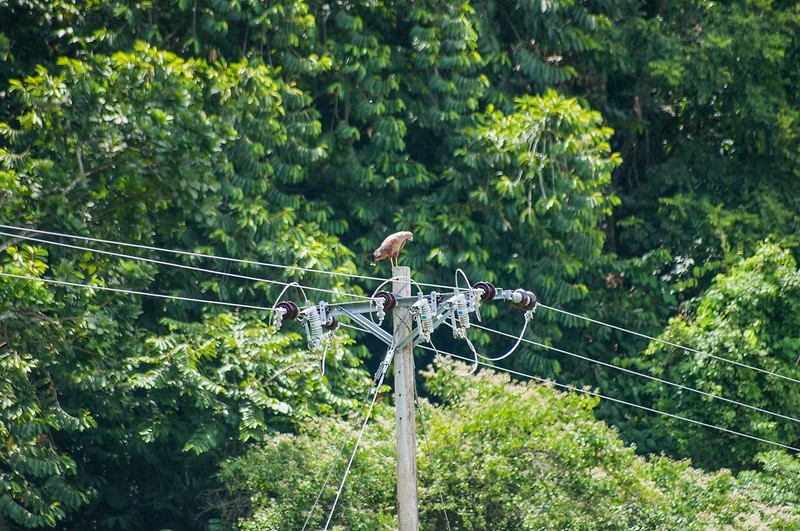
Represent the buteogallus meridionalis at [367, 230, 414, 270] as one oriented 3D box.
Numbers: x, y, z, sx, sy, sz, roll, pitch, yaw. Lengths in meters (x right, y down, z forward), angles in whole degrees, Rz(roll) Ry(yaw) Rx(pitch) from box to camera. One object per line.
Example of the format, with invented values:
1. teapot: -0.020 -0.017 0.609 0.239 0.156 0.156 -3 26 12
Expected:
1. buteogallus meridionalis: -0.269 -0.469 56.252 1.134 0.877 0.556 -1 -9 -4
